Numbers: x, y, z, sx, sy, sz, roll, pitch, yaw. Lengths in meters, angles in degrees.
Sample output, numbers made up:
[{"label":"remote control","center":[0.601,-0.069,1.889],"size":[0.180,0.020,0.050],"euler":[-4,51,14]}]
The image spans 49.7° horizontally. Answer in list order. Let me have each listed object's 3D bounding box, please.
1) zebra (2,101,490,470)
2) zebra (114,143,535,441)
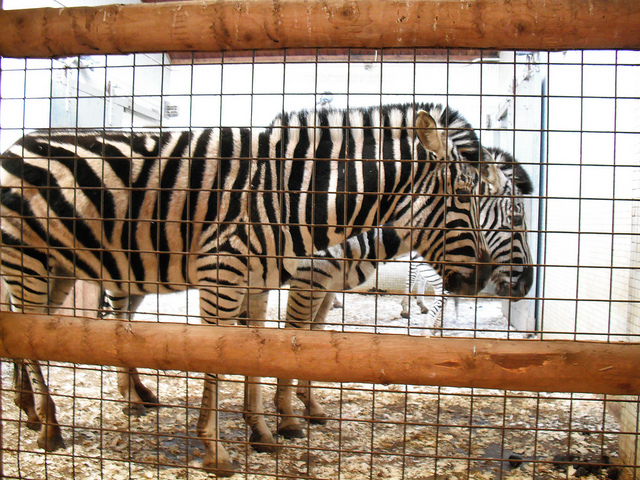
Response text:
[{"label":"zebra","center":[-0.539,0.149,4.171],"size":[2.850,2.125,1.704],"euler":[4,7,8]},{"label":"zebra","center":[-0.623,0.299,5.129],"size":[3.839,2.498,0.868],"euler":[4,-7,16]}]
